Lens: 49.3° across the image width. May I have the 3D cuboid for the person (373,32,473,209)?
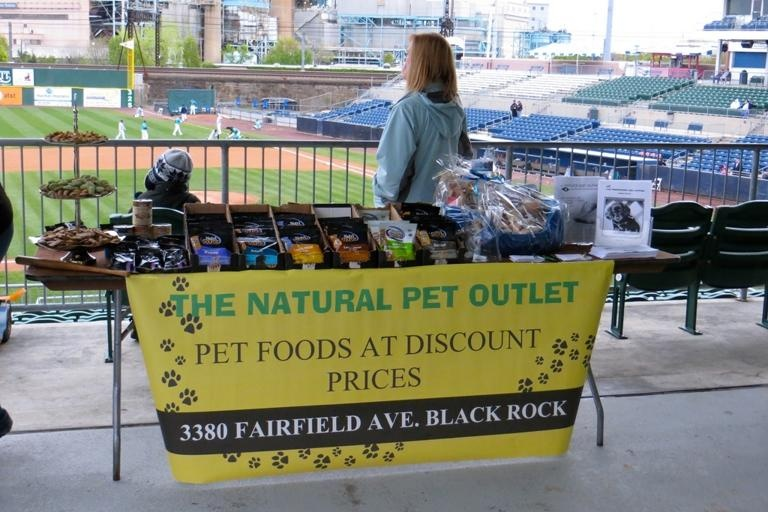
[{"bbox_3d":[0.221,-0.836,5.216,0.611,1.038,0.249,-9,17,-33],"label":"person"}]

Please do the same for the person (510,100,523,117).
[{"bbox_3d":[6.088,-6.664,38.658,0.410,0.697,0.684,2,14,5],"label":"person"}]

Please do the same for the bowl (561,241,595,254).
[{"bbox_3d":[1.077,-0.037,4.700,0.172,0.037,0.111,3,13,12],"label":"bowl"}]

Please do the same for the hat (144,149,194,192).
[{"bbox_3d":[-1.502,-0.580,5.810,0.313,0.296,0.237,-4,14,-16],"label":"hat"}]

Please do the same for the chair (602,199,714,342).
[{"bbox_3d":[2.002,0.099,6.153,0.735,1.015,0.366,-6,15,-22],"label":"chair"}]

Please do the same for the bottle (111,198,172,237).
[{"bbox_3d":[-1.314,-0.184,4.596,0.246,0.143,0.238,3,13,-1],"label":"bottle"}]
